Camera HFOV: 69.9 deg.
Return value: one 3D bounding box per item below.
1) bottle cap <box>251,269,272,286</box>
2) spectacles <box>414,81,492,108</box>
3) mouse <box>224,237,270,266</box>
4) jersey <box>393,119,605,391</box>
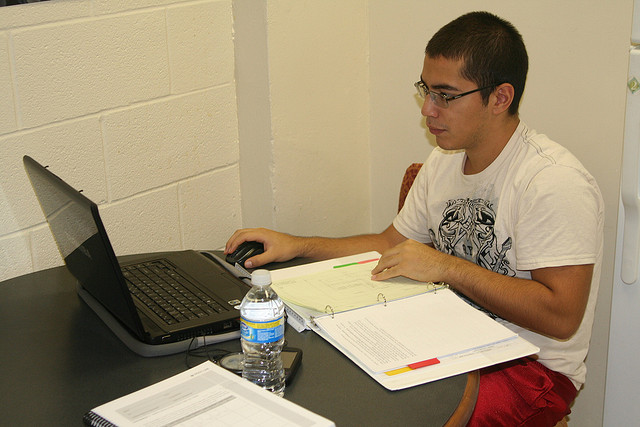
[{"bbox_3d":[-0.132,0.144,1.039,0.038,0.033,0.058,0,21,6],"label":"bottle cap"},{"bbox_3d":[0.473,-0.432,1.650,0.258,0.083,0.094,4,23,17],"label":"spectacles"},{"bbox_3d":[-0.261,0.138,1.608,0.078,0.043,0.132,29,32,35],"label":"mouse"},{"bbox_3d":[0.723,0.145,1.868,0.547,0.881,1.023,-4,8,-23],"label":"jersey"}]
